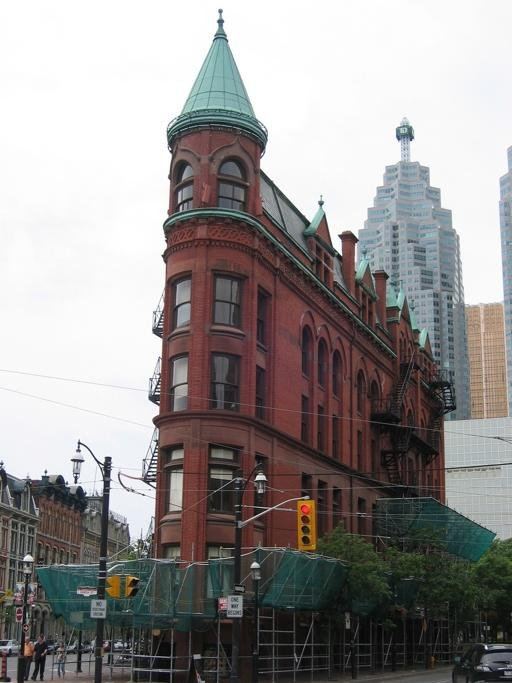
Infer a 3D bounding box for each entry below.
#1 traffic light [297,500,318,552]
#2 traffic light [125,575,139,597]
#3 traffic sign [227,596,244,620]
[{"bbox_3d":[1.464,5.352,29.154,0.495,1.454,0.796,0,-18,-3],"label":"traffic light"},{"bbox_3d":[-3.736,7.302,29.692,0.367,0.678,1.350,2,-18,-8],"label":"traffic light"},{"bbox_3d":[-0.675,7.971,29.766,0.414,0.670,0.554,-3,-18,5],"label":"traffic sign"}]
